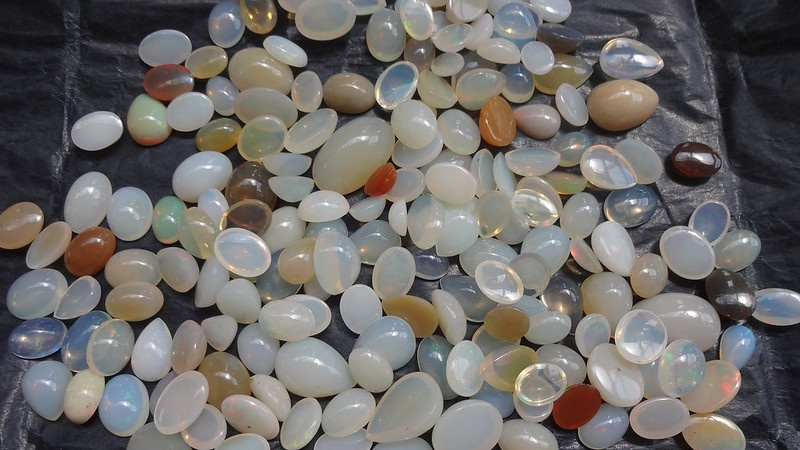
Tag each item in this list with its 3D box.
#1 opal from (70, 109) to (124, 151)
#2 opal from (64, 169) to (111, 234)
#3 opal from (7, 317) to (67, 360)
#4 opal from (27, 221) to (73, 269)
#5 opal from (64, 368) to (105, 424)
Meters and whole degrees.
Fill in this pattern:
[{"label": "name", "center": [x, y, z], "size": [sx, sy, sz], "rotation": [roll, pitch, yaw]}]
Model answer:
[{"label": "opal", "center": [-0.919, -0.286, 2.180], "size": [0.153, 0.040, 0.109], "rotation": [-25, 83, -8]}, {"label": "opal", "center": [-0.933, -0.066, 2.146], "size": [0.124, 0.036, 0.189], "rotation": [23, 79, 0]}, {"label": "opal", "center": [-1.054, 0.331, 2.085], "size": [0.139, 0.078, 0.120], "rotation": [-14, 82, -7]}, {"label": "opal", "center": [-1.038, 0.059, 2.118], "size": [0.146, 0.033, 0.098], "rotation": [-43, 89, -8]}, {"label": "opal", "center": [-0.902, 0.496, 2.083], "size": [0.131, 0.045, 0.139], "rotation": [-18, 79, 8]}]
